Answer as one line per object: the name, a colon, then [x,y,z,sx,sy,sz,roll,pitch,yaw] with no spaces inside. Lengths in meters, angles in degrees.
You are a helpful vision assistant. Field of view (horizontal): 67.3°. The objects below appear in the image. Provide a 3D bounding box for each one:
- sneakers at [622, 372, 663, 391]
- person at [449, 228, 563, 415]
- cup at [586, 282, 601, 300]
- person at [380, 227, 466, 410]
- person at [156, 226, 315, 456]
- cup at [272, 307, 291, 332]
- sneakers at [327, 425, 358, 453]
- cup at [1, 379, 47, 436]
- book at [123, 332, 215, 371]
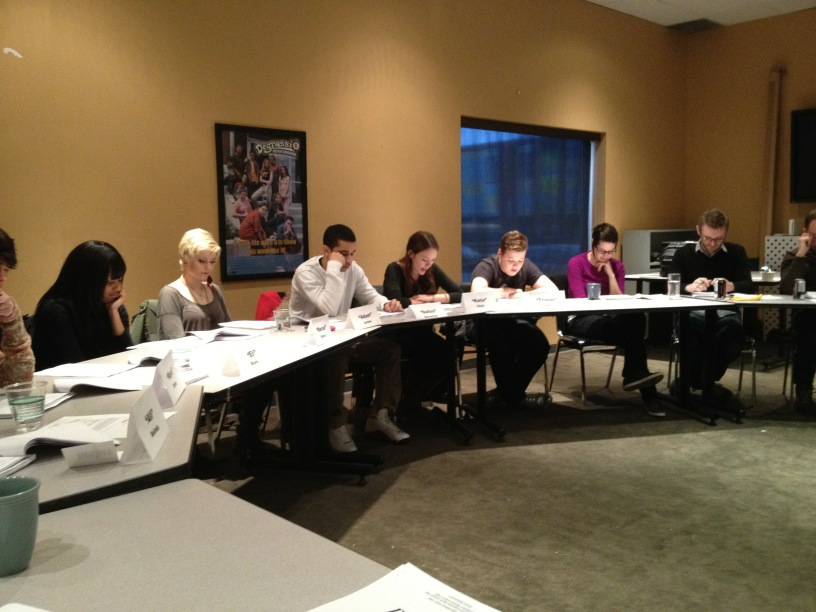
sneakers: [1.599,0.512,4.228,0.284,0.123,0.110,-23,-23,25]
person: [0.757,0.081,4.606,0.641,1.282,0.630,-4,8,-20]
cup: [1.297,-0.108,4.341,0.112,0.135,0.114,-1,2,0]
person: [0.078,0.120,4.353,0.560,1.316,0.672,-11,17,-40]
person: [-1.041,0.216,3.394,0.600,1.339,0.572,-8,-9,26]
cup: [-0.688,0.077,3.388,0.091,0.151,0.150,1,7,-2]
sneakers: [-0.369,0.750,3.524,0.215,0.176,0.086,2,2,-5]
cup: [-1.114,0.290,1.743,0.125,0.153,0.126,-2,-6,0]
book: [-1.055,0.190,2.717,0.381,0.061,0.729,-4,9,-18]
